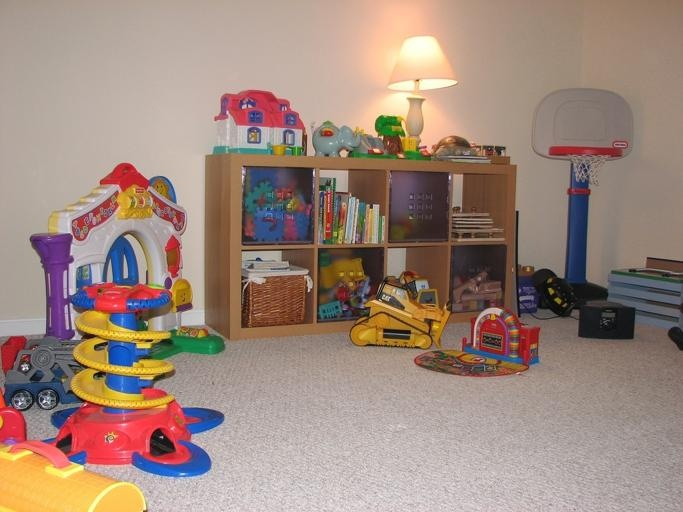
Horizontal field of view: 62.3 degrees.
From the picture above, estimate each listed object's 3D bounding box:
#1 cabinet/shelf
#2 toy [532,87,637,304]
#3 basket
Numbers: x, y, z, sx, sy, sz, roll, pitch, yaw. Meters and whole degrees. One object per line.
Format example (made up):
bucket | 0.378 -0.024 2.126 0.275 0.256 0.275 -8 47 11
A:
cabinet/shelf | 0.084 -0.075 4.022 2.017 1.133 0.576 3 -2 38
toy | 1.825 -0.500 4.406 0.707 1.587 0.385 6 12 25
basket | -0.340 0.300 3.585 0.523 0.349 0.426 -10 -20 31
